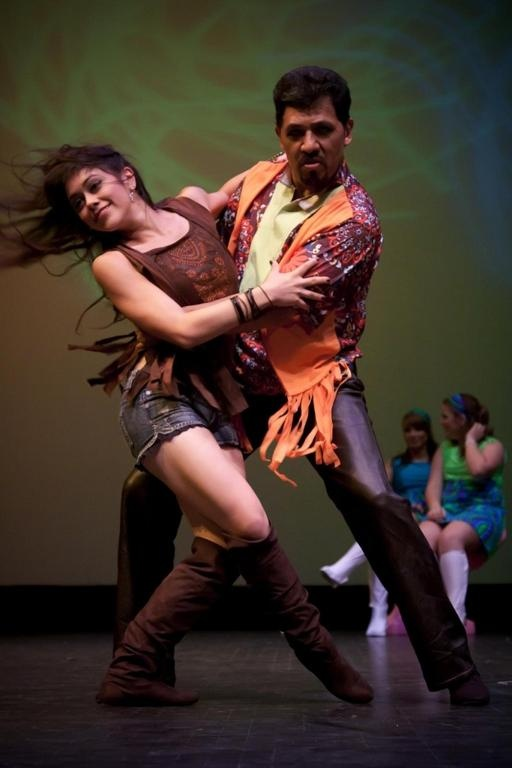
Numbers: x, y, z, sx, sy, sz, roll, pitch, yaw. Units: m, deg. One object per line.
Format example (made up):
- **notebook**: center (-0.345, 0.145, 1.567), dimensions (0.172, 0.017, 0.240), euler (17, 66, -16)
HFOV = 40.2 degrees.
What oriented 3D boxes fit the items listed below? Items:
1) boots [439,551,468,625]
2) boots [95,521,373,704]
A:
- **boots**: center (0.743, 0.757, 2.623), dimensions (0.111, 0.268, 0.095), euler (-11, 14, 15)
- **boots**: center (-0.031, 0.436, 1.286), dimensions (0.482, 0.369, 0.205), euler (2, 7, 0)
